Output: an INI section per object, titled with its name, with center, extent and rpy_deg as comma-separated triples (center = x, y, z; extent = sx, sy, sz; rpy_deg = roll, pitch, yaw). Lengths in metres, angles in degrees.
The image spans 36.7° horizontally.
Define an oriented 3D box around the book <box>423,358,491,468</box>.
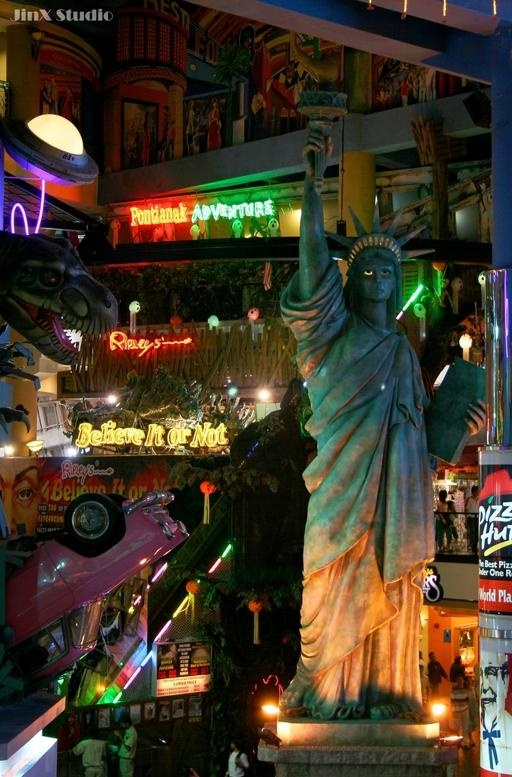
[book]
center = 1.087, 0.172, 4.181
extent = 0.358, 0.549, 0.132
rpy_deg = 35, -24, 24
